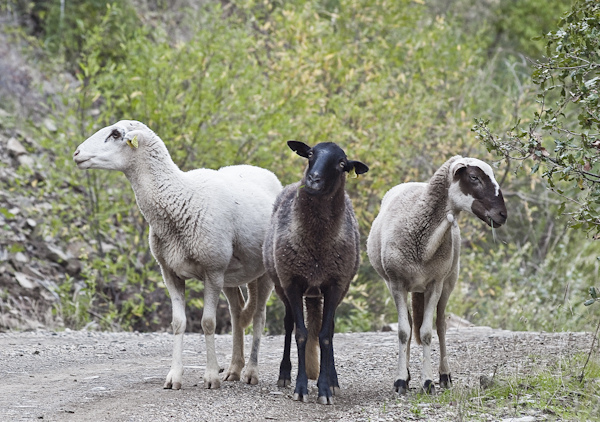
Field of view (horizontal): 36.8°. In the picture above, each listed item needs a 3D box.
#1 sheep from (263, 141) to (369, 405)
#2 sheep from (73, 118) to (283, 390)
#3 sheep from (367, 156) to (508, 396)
[{"bbox_3d":[0.214,0.829,13.172,1.369,3.666,1.210,1,8,3],"label":"sheep"},{"bbox_3d":[-1.525,0.781,13.962,1.723,3.988,4.058,-2,-5,39],"label":"sheep"},{"bbox_3d":[1.966,0.899,13.492,2.029,3.475,1.387,3,8,19],"label":"sheep"}]
